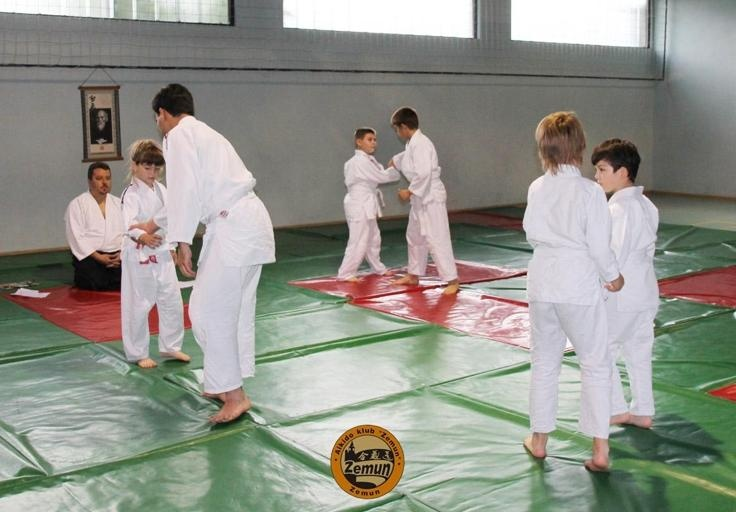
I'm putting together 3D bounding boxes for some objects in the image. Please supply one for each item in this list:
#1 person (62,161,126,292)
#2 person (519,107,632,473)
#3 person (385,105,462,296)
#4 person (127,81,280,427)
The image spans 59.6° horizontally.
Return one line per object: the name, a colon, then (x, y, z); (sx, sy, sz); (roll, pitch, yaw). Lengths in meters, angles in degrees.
person: (-2.747, -0.289, 6.387); (0.563, 1.244, 0.467); (-4, 15, -10)
person: (0.980, 0.170, 3.154); (0.470, 1.700, 0.426); (4, 15, 20)
person: (0.555, -0.576, 6.306); (0.647, 1.717, 1.045); (-1, 14, 2)
person: (-0.871, -0.036, 3.700); (0.537, 1.855, 0.599); (-12, 18, -36)
